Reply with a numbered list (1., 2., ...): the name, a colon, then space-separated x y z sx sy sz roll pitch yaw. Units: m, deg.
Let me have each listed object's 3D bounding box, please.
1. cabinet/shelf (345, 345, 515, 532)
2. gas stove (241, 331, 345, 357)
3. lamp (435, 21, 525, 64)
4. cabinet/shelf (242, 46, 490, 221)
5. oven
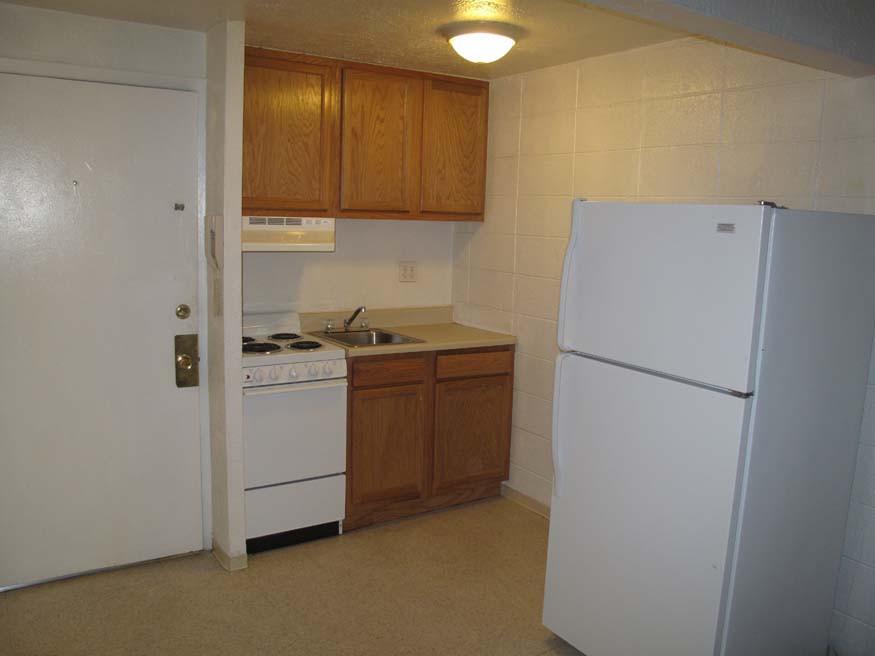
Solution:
1. cabinet/shelf: -0.142 0.568 4.256 1.110 1.040 0.540 -3 11 -26
2. gas stove: -0.885 0.083 3.837 0.517 0.033 0.535 -4 12 -22
3. lamp: 0.208 -1.428 3.287 0.416 0.137 0.267 2 11 6
4. cabinet/shelf: -0.460 -1.160 4.164 1.646 0.897 0.412 -5 17 -30
5. oven: -0.867 0.569 3.820 0.622 0.846 0.581 -3 1 -21
